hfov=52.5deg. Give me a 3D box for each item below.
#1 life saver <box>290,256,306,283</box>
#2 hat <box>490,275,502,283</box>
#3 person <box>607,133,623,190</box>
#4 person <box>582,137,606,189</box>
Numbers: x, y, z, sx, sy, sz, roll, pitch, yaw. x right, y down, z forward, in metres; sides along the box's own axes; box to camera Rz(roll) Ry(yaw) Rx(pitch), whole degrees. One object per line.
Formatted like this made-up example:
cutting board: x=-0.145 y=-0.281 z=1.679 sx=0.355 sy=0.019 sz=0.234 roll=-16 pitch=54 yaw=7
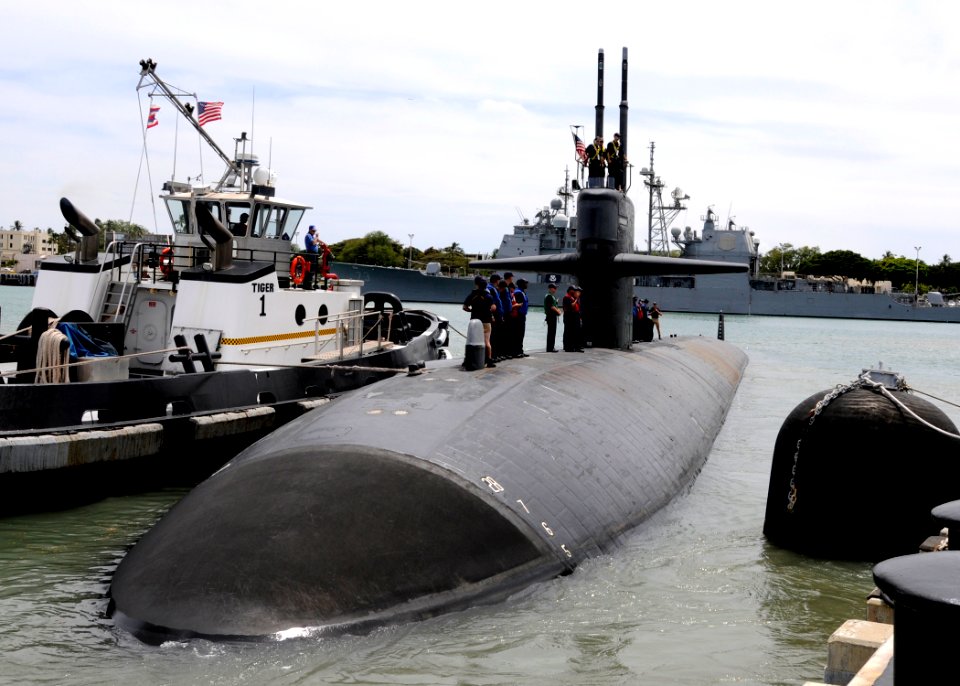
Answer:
life saver: x=-3.159 y=-1.254 z=16.798 sx=0.324 sy=0.431 sz=0.118 roll=2 pitch=-3 yaw=6
hat: x=0.228 y=-0.950 z=14.583 sx=0.105 sy=0.127 sz=0.139 roll=1 pitch=-6 yaw=11
person: x=2.271 y=-3.069 z=16.402 sx=0.325 sy=1.056 sz=1.039 roll=2 pitch=3 yaw=10
person: x=1.893 y=-3.049 z=16.152 sx=0.325 sy=0.814 sz=0.208 roll=-14 pitch=48 yaw=-19
